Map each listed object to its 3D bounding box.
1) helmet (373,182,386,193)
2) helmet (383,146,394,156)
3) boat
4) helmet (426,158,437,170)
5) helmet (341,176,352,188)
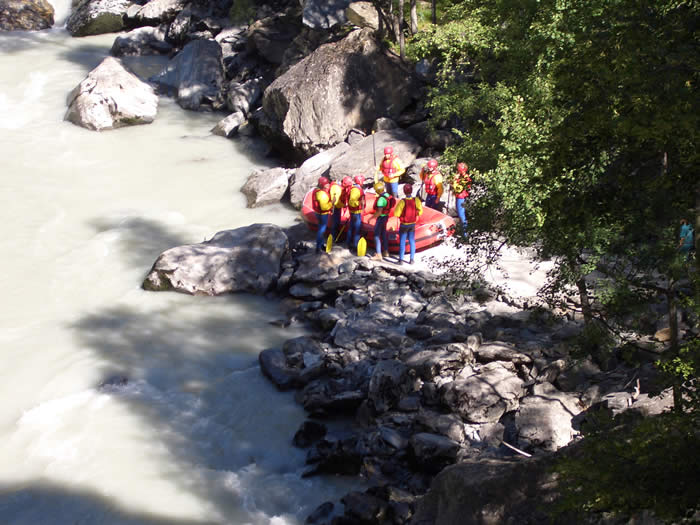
[{"bbox_3d":[0.786,-1.972,24.957,0.260,0.346,0.318,0,1,5],"label":"helmet"},{"bbox_3d":[1.087,-3.117,26.631,0.235,0.251,0.322,-1,9,-1],"label":"helmet"},{"bbox_3d":[0.757,-1.298,25.945,3.554,1.087,1.969,21,45,19],"label":"boat"},{"bbox_3d":[2.267,-2.707,26.127,0.246,0.300,0.326,0,50,6],"label":"helmet"},{"bbox_3d":[-0.044,-2.175,25.426,0.286,0.375,0.377,1,1,-6],"label":"helmet"}]
